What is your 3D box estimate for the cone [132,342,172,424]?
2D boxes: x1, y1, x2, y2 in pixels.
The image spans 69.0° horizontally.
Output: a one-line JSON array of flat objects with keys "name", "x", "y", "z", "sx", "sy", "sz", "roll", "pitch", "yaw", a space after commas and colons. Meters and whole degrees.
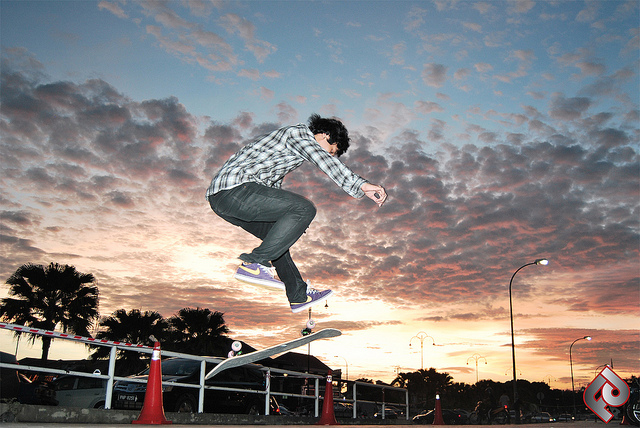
[{"name": "cone", "x": -2.954, "y": 3.038, "z": 8.390, "sx": 0.891, "sy": 1.405, "sz": 0.675, "roll": 1, "pitch": 3, "yaw": 24}]

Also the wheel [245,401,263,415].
[{"name": "wheel", "x": -1.823, "y": 5.263, "z": 12.683, "sx": 0.522, "sy": 0.377, "sz": 0.184, "roll": 16, "pitch": -38, "yaw": -43}]

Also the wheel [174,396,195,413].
[{"name": "wheel", "x": -3.313, "y": 4.707, "z": 11.611, "sx": 0.094, "sy": 0.376, "sz": 0.601, "roll": -15, "pitch": -28, "yaw": 32}]

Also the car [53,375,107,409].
[{"name": "car", "x": -6.347, "y": 4.645, "z": 12.307, "sx": 0.841, "sy": 0.708, "sz": 2.399, "roll": 19, "pitch": -25, "yaw": -31}]

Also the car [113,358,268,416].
[{"name": "car", "x": -3.478, "y": 4.866, "z": 12.701, "sx": 2.112, "sy": 1.249, "sz": 3.860, "roll": -17, "pitch": -29, "yaw": 32}]

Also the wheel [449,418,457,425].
[{"name": "wheel", "x": 9.185, "y": 14.191, "z": 32.172, "sx": 0.509, "sy": 0.285, "sz": 0.430, "roll": -2, "pitch": -22, "yaw": 11}]

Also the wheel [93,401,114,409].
[{"name": "wheel", "x": -5.250, "y": 4.613, "z": 11.325, "sx": 0.399, "sy": 0.145, "sz": 0.767, "roll": 9, "pitch": -20, "yaw": -19}]
